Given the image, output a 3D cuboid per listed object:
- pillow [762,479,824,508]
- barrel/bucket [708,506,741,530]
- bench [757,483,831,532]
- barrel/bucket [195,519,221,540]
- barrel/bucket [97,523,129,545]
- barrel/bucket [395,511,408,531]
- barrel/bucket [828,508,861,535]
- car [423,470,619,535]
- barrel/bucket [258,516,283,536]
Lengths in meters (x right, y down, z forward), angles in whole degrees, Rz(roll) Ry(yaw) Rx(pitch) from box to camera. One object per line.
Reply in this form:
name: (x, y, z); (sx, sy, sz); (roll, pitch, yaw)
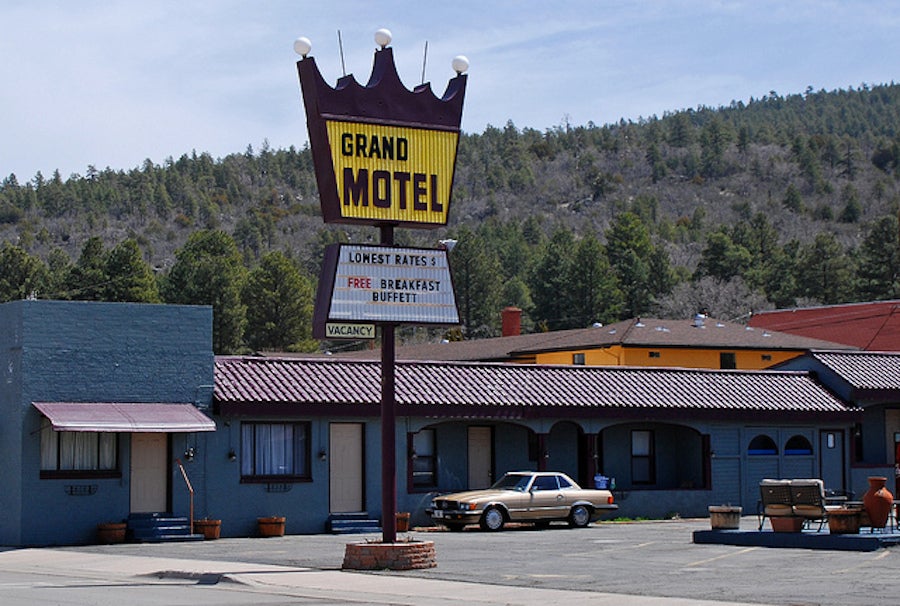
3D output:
pillow: (13.015, 7.295, 68.283); (2.313, 1.051, 0.553); (-6, -9, 21)
barrel/bucket: (10.818, 8.523, 70.615); (1.005, 0.701, 1.030); (-1, -6, 0)
bench: (13.204, 7.783, 68.770); (2.555, 1.830, 1.501); (-2, -4, 30)
barrel/bucket: (-9.709, 9.073, 71.697); (1.163, 0.878, 0.716); (1, -9, -19)
barrel/bucket: (-13.299, 9.105, 70.318); (0.838, 0.555, 0.828); (-1, -5, 0)
barrel/bucket: (-1.996, 9.101, 74.152); (0.626, 0.625, 0.629); (1, 2, 0)
barrel/bucket: (14.911, 8.287, 67.774); (0.956, 0.735, 0.989); (-2, -2, 0)
car: (2.995, 8.136, 73.884); (6.137, 1.891, 2.790); (4, -9, -27)
barrel/bucket: (-7.273, 9.101, 72.485); (0.839, 0.566, 0.718); (0, -6, -4)
